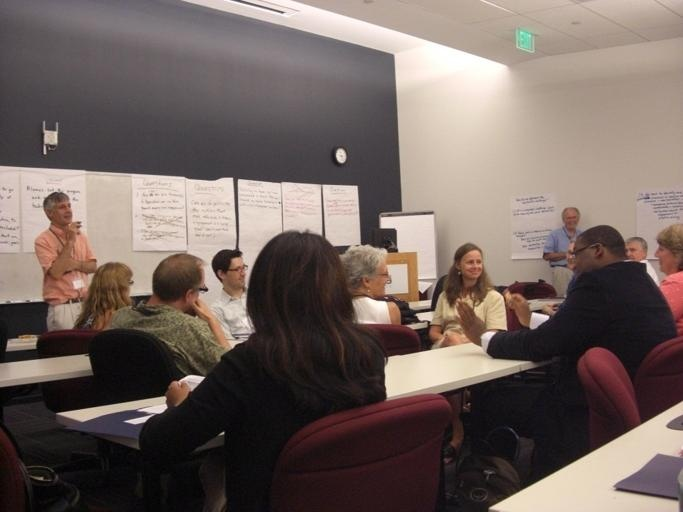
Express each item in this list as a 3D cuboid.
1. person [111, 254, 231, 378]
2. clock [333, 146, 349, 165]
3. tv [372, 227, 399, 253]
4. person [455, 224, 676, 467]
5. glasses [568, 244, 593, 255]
[{"bbox_3d":[-0.886,0.301,2.688,0.442,0.740,0.369,8,14,26],"label":"person"},{"bbox_3d":[-0.020,-1.501,7.785,0.058,0.250,0.241,4,3,42],"label":"clock"},{"bbox_3d":[0.516,-0.192,6.246,0.141,0.342,0.396,0,0,41],"label":"tv"},{"bbox_3d":[1.540,0.422,3.405,1.147,2.190,0.896,3,3,39],"label":"person"},{"bbox_3d":[1.365,-0.037,2.984,0.161,0.052,0.160,-1,3,20],"label":"glasses"}]
